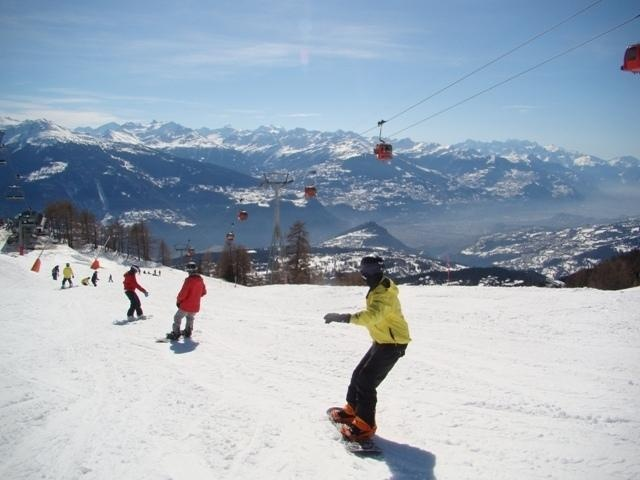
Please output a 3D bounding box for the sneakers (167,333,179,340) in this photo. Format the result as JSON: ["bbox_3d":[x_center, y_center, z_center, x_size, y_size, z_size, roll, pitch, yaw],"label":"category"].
[{"bbox_3d":[-4.920,3.189,18.541,0.389,0.238,0.157,-3,15,-16],"label":"sneakers"}]

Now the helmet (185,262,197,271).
[{"bbox_3d":[-4.178,0.846,18.058,0.275,0.211,0.421,1,11,-23],"label":"helmet"}]
